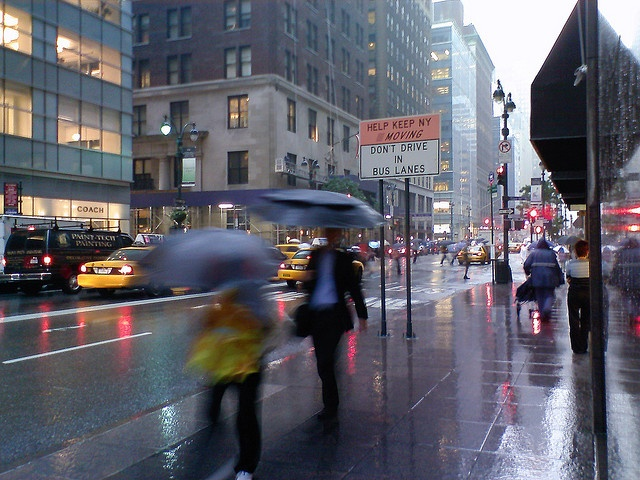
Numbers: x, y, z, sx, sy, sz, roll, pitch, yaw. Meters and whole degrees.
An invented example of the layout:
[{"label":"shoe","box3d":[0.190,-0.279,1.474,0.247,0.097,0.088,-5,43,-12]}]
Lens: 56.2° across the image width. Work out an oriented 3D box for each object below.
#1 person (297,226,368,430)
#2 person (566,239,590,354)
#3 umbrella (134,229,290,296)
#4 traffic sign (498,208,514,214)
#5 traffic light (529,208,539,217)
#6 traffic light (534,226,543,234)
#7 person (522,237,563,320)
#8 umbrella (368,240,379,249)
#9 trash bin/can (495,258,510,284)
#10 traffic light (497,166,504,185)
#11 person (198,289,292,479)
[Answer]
[{"label":"person","box3d":[0.134,0.982,7.499,0.894,2.301,0.606,-2,3,-10]},{"label":"person","box3d":[4.521,0.962,10.519,0.357,1.886,0.796,0,3,22]},{"label":"umbrella","box3d":[-1.013,0.172,5.559,1.213,0.550,0.297,-2,3,-18]},{"label":"traffic sign","box3d":[7.583,-1.198,24.324,0.563,0.242,1.186,0,4,17]},{"label":"traffic light","box3d":[10.210,-1.345,28.699,0.382,0.478,0.598,0,4,25]},{"label":"traffic light","box3d":[11.464,-0.582,31.342,0.097,0.472,0.412,1,2,-30]},{"label":"person","box3d":[5.061,0.878,13.587,0.829,1.894,0.628,0,3,20]},{"label":"umbrella","box3d":[5.043,0.352,56.102,1.027,0.645,0.693,-3,7,-38]},{"label":"trash bin/can","box3d":[7.619,1.278,24.874,0.678,0.925,1.276,0,4,17]},{"label":"traffic light","box3d":[7.443,-2.685,24.637,0.276,0.740,0.894,0,4,18]},{"label":"person","box3d":[-0.805,1.351,5.779,0.805,1.952,0.398,-1,3,-7]}]
